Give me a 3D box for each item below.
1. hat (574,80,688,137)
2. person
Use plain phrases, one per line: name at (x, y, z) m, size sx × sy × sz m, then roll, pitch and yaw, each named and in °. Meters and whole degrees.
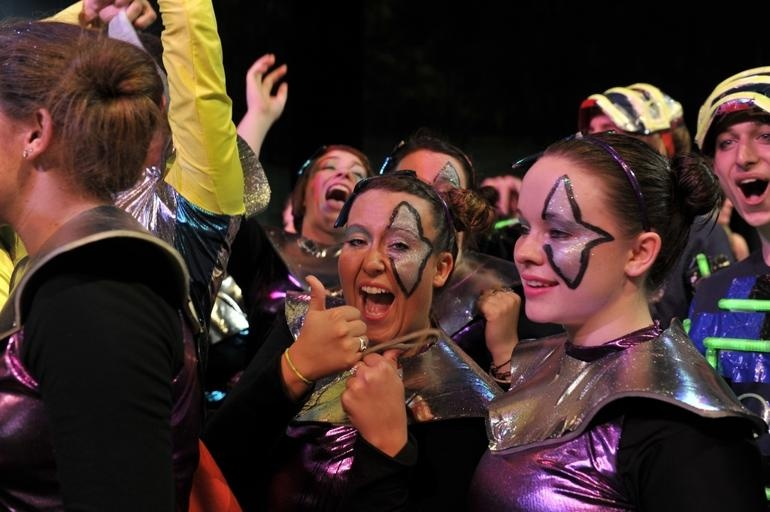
hat at (1.246, -0.761, 4.441) m, size 0.558 × 0.199 × 0.408 m, roll -6°, pitch 13°, yaw -25°
person at (0.598, 0.123, 3.172) m, size 3.157 × 1.484 × 0.996 m, roll 8°, pitch -11°, yaw -4°
